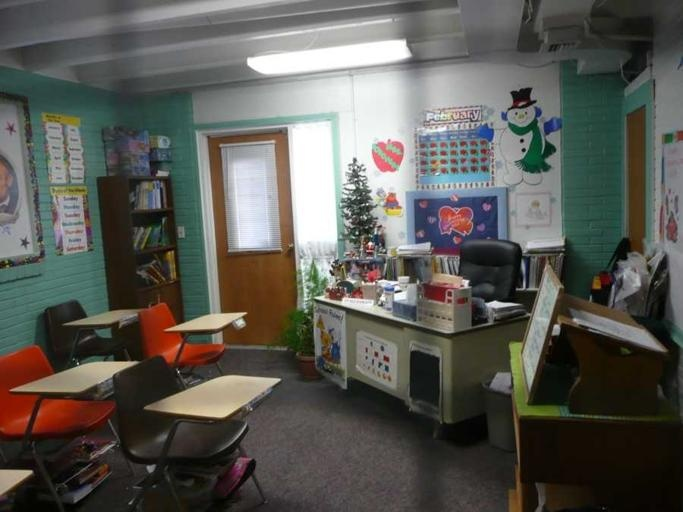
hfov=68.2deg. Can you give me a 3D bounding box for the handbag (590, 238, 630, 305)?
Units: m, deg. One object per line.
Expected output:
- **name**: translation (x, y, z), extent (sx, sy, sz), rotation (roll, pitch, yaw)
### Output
- **handbag**: translation (2.653, 0.138, 4.953), extent (0.314, 0.566, 0.812), rotation (4, 12, 30)

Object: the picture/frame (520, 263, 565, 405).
- **picture/frame**: translation (1.138, 0.432, 2.842), extent (0.034, 0.794, 0.669), rotation (12, 3, 10)

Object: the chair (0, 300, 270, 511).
- **chair**: translation (-1.238, 1.394, 4.248), extent (1.280, 0.720, 1.924), rotation (0, 5, 10)

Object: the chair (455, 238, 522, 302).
- **chair**: translation (1.487, 0.146, 5.239), extent (0.512, 0.755, 0.634), rotation (2, -9, 31)

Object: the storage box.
- **storage box**: translation (-2.448, -1.252, 6.064), extent (0.408, 0.573, 0.800), rotation (1, 11, 19)
